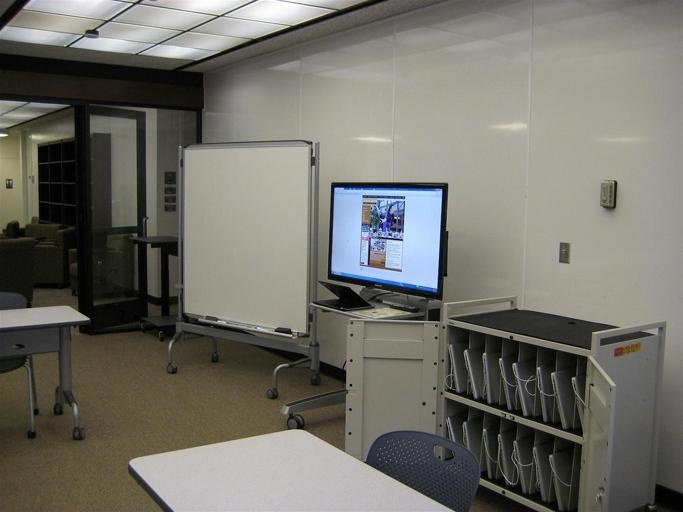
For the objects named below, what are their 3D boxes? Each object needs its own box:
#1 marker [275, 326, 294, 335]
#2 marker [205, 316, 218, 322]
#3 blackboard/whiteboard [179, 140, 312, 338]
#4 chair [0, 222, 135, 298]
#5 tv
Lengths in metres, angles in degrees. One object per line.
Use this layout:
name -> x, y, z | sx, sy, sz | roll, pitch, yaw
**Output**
marker -> -0.547, 0.707, 5.220 | 0.196, 0.054, 0.055 | 5, 8, 23
marker -> -1.343, 0.640, 5.628 | 0.185, 0.044, 0.043 | 7, 3, 22
blackboard/whiteboard -> -0.913, -0.180, 5.393 | 1.790, 1.991, 0.265 | 5, 7, 32
chair -> -4.068, 0.107, 8.112 | 1.218, 0.869, 0.674 | 3, 2, 33
tv -> 0.391, -0.117, 4.261 | 0.882, 0.654, 0.043 | 9, 5, 43
